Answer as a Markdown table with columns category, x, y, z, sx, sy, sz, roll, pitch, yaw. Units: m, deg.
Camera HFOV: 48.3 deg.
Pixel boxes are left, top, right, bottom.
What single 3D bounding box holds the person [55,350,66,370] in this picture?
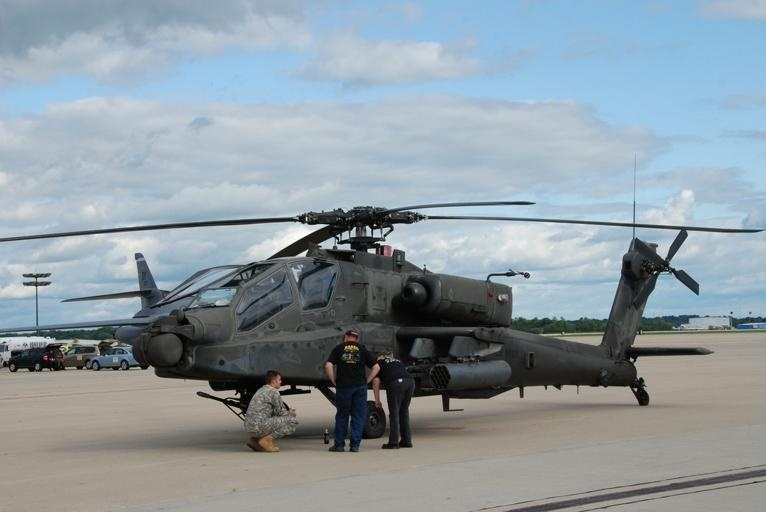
| category | x | y | z | sx | sy | sz | roll | pitch | yaw |
| --- | --- | --- | --- | --- | --- | --- | --- | --- | --- |
| person | -20.027 | 6.311 | 52.478 | 0.959 | 1.057 | 0.607 | 0 | -3 | 6 |

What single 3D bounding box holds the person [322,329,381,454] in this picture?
| category | x | y | z | sx | sy | sz | roll | pitch | yaw |
| --- | --- | --- | --- | --- | --- | --- | --- | --- | --- |
| person | -0.641 | 2.625 | 16.574 | 0.770 | 2.325 | 0.861 | -4 | -2 | 40 |

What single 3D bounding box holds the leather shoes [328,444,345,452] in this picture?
| category | x | y | z | sx | sy | sz | roll | pitch | yaw |
| --- | --- | --- | --- | --- | --- | --- | --- | --- | --- |
| leather shoes | -0.914 | 3.719 | 16.622 | 0.280 | 0.149 | 0.113 | 10 | 0 | 9 |

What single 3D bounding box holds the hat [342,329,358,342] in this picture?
| category | x | y | z | sx | sy | sz | roll | pitch | yaw |
| --- | --- | --- | --- | --- | --- | --- | --- | --- | --- |
| hat | -0.614 | 1.561 | 16.864 | 0.291 | 0.247 | 0.270 | -6 | -11 | -23 |

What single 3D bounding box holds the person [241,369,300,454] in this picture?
| category | x | y | z | sx | sy | sz | roll | pitch | yaw |
| --- | --- | --- | --- | --- | --- | --- | --- | --- | --- |
| person | -2.256 | 3.035 | 16.917 | 0.997 | 1.577 | 0.520 | -2 | -1 | -7 |

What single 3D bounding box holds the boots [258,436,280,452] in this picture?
| category | x | y | z | sx | sy | sz | roll | pitch | yaw |
| --- | --- | --- | --- | --- | --- | --- | --- | --- | --- |
| boots | -2.263 | 3.664 | 16.768 | 0.391 | 0.304 | 0.262 | -2 | -1 | -8 |

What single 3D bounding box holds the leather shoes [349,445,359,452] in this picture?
| category | x | y | z | sx | sy | sz | roll | pitch | yaw |
| --- | --- | --- | --- | --- | --- | --- | --- | --- | --- |
| leather shoes | -0.571 | 3.705 | 16.525 | 0.125 | 0.115 | 0.321 | 1 | -10 | -10 |

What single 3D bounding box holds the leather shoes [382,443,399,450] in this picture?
| category | x | y | z | sx | sy | sz | roll | pitch | yaw |
| --- | --- | --- | --- | --- | --- | --- | --- | --- | --- |
| leather shoes | 0.122 | 3.724 | 16.894 | 0.350 | 0.076 | 0.293 | -2 | -1 | 5 |

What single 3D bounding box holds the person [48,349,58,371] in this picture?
| category | x | y | z | sx | sy | sz | roll | pitch | yaw |
| --- | --- | --- | --- | --- | --- | --- | --- | --- | --- |
| person | -20.106 | 6.252 | 52.028 | 0.735 | 0.959 | 0.276 | 2 | -4 | -25 |

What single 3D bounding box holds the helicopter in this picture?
| category | x | y | z | sx | sy | sz | roll | pitch | yaw |
| --- | --- | --- | --- | --- | --- | --- | --- | --- | --- |
| helicopter | 1.803 | 1.481 | 20.008 | 15.087 | 5.146 | 2.996 | -1 | -2 | -26 |
